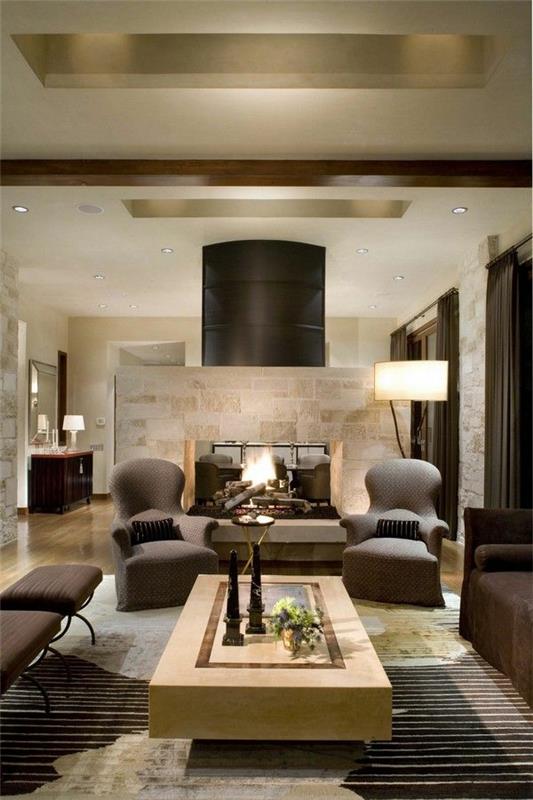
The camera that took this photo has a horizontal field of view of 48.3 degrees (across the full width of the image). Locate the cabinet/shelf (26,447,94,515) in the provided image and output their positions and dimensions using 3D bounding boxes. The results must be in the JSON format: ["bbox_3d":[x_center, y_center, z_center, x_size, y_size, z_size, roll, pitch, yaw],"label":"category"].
[{"bbox_3d":[-2.733,0.879,7.560,0.402,0.762,1.261,1,10,-15],"label":"cabinet/shelf"}]

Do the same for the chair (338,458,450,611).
[{"bbox_3d":[0.814,0.810,3.786,0.613,0.820,0.751,-1,-2,17],"label":"chair"}]

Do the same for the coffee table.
[{"bbox_3d":[0.009,0.982,2.386,0.741,0.237,1.201,0,-2,0],"label":"coffee table"}]

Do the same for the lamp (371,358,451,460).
[{"bbox_3d":[0.980,0.070,4.132,0.671,0.932,0.309,0,-6,8],"label":"lamp"}]

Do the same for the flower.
[{"bbox_3d":[0.103,0.807,2.132,0.162,0.172,0.147,0,6,1],"label":"flower"}]

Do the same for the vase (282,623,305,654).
[{"bbox_3d":[0.092,0.821,2.055,0.091,0.131,0.077,0,-9,4],"label":"vase"}]

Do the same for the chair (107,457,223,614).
[{"bbox_3d":[-0.701,0.818,3.694,0.625,0.813,0.737,0,-3,-33],"label":"chair"}]
